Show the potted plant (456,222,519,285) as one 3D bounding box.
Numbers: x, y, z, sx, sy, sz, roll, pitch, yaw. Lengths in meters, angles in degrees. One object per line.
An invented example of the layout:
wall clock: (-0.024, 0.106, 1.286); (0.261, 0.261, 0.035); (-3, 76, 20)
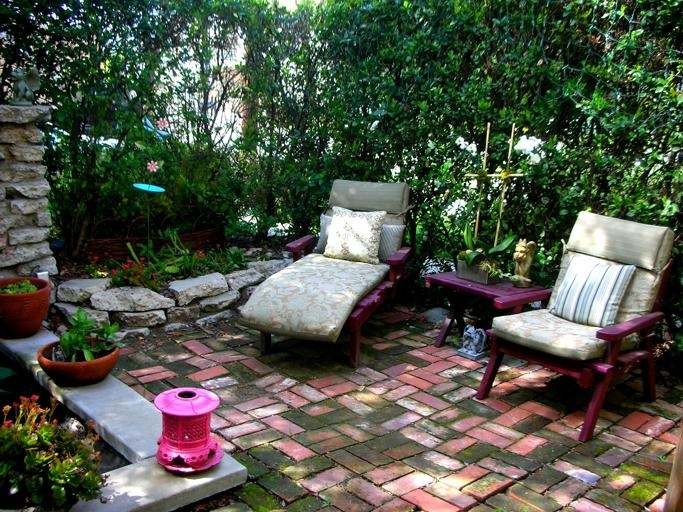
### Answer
potted plant: (1.388, -0.027, 4.195); (0.577, 0.381, 0.656); (-11, 22, -23)

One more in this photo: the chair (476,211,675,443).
chair: (1.922, 0.435, 3.384); (1.297, 1.483, 0.859); (-12, 23, -43)

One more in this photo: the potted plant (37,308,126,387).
potted plant: (-1.859, 0.698, 3.050); (0.510, 0.269, 0.498); (-7, 18, -39)

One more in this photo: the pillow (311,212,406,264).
pillow: (0.225, -0.188, 4.637); (0.780, 0.303, 0.211); (5, -13, 26)

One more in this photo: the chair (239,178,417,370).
chair: (-0.061, 0.057, 4.375); (1.330, 0.972, 1.828); (16, 39, 21)

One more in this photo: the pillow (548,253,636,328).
pillow: (2.010, 0.290, 3.445); (0.211, 0.507, 0.665); (27, -4, -38)

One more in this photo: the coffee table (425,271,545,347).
coffee table: (1.433, 0.593, 4.185); (0.732, 0.592, 1.122); (-13, 5, -32)

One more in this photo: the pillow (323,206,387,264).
pillow: (0.179, -0.229, 4.727); (0.440, 0.558, 0.831); (-29, 26, -33)
